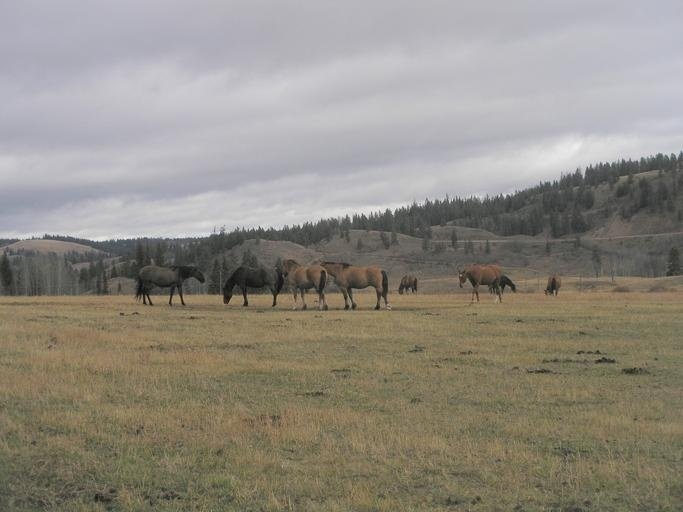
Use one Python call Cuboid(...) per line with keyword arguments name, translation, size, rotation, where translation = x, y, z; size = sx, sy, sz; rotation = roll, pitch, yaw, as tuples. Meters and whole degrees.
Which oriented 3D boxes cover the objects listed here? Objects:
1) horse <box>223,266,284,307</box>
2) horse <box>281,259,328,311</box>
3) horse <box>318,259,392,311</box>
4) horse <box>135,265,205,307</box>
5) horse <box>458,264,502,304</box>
Cuboid(name="horse", translation=(-6.565, 2.248, 77.502), size=(4.551, 3.074, 1.254), rotation=(-4, -1, 10))
Cuboid(name="horse", translation=(-2.642, 2.056, 73.963), size=(1.274, 3.240, 4.972), rotation=(0, -1, -40))
Cuboid(name="horse", translation=(1.438, 1.819, 74.426), size=(3.408, 3.718, 3.670), rotation=(-5, 2, -44))
Cuboid(name="horse", translation=(-12.435, 2.161, 76.901), size=(4.805, 3.000, 1.182), rotation=(1, -1, -10))
Cuboid(name="horse", translation=(10.991, 2.316, 86.014), size=(3.009, 3.841, 9.285), rotation=(3, 9, 9))
